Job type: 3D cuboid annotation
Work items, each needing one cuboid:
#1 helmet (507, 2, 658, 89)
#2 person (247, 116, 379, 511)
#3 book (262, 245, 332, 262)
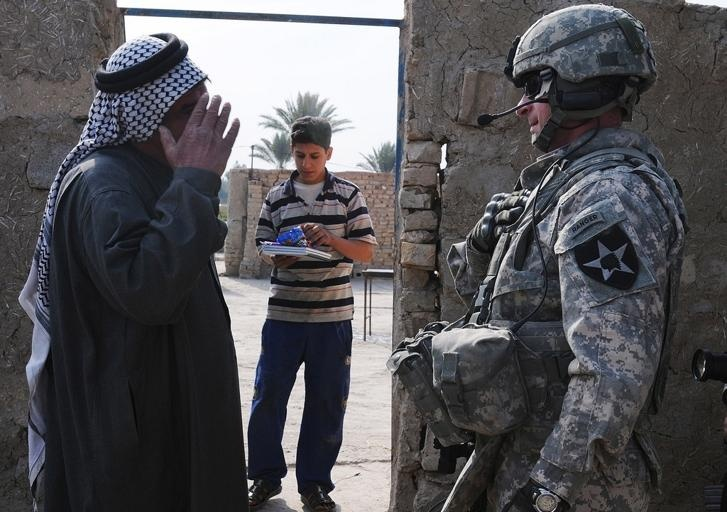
[{"bbox_3d":[0.893,-0.797,3.902,0.419,0.250,0.379,-7,5,10],"label":"helmet"},{"bbox_3d":[-0.313,0.299,5.759,0.717,2.263,0.593,4,-1,-7],"label":"person"},{"bbox_3d":[-0.394,-0.022,5.617,0.412,0.085,0.250,4,-1,-4],"label":"book"}]
